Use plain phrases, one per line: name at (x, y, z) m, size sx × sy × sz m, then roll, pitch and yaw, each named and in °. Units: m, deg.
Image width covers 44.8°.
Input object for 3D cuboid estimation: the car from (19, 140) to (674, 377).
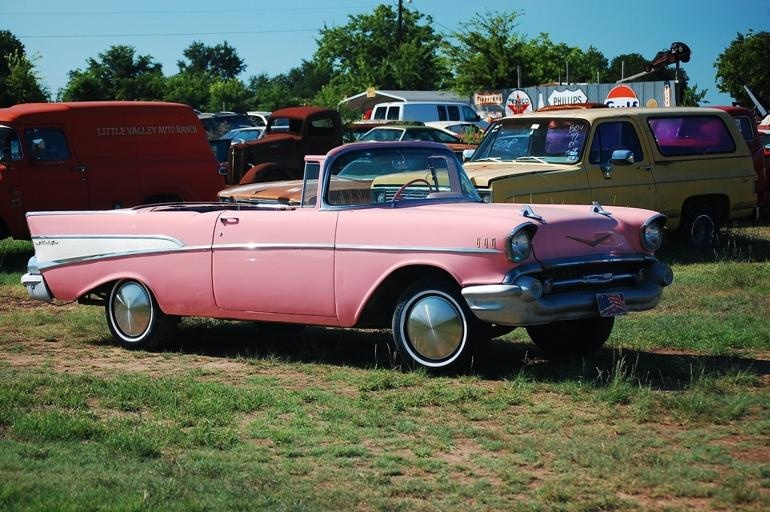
car at (-0.392, 0.016, 9.703) m, size 5.493 × 1.772 × 2.635 m, roll 0°, pitch 3°, yaw 27°
